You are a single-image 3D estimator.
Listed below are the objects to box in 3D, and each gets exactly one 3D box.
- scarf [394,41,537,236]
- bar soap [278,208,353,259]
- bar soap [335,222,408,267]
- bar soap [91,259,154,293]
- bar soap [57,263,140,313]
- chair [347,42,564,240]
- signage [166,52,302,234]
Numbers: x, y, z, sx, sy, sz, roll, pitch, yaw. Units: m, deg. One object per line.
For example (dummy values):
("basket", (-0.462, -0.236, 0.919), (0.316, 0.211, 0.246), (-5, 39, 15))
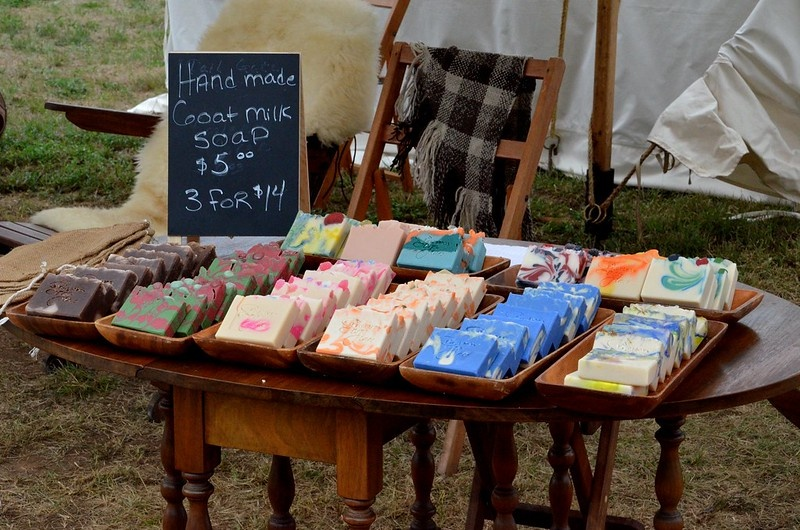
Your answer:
("scarf", (0.284, -0.611, 3.107), (0.677, 0.904, 0.289), (11, 10, 20))
("bar soap", (-0.233, -0.085, 1.913), (0.149, 0.047, 0.151), (5, 60, 21))
("bar soap", (-0.072, -0.063, 1.853), (0.127, 0.060, 0.130), (3, 48, 19))
("bar soap", (-0.658, 0.018, 1.654), (0.088, 0.023, 0.085), (7, 23, 5))
("bar soap", (-0.702, 0.032, 1.620), (0.127, 0.034, 0.123), (8, 30, 7))
("chair", (0.234, -0.541, 2.962), (0.834, 0.768, 0.622), (10, 27, 12))
("signage", (-0.584, -0.432, 2.437), (0.467, 0.665, 0.420), (0, 14, 0))
